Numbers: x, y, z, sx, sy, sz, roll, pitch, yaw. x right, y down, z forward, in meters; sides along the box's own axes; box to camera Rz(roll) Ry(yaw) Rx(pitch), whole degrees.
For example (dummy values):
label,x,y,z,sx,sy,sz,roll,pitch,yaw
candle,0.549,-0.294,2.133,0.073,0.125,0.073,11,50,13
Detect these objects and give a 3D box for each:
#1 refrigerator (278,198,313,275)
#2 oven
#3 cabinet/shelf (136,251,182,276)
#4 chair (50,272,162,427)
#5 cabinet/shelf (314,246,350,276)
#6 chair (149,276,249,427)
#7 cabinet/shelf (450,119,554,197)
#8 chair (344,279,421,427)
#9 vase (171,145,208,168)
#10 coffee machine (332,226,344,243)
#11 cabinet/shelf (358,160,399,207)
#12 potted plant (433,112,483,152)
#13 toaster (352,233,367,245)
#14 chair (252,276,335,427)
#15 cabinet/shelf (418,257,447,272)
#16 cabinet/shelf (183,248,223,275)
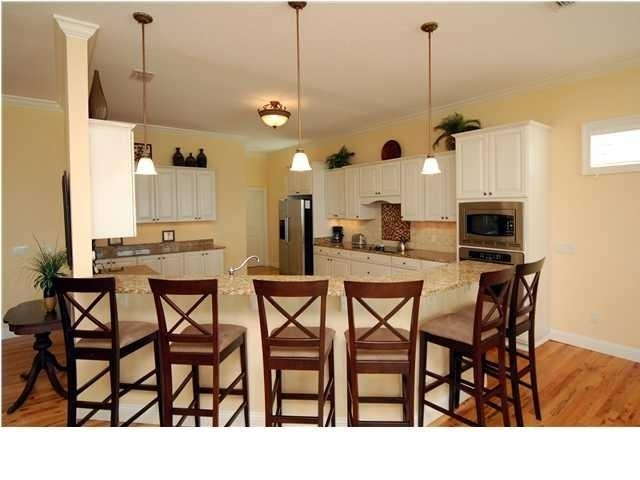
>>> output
label,x,y,z,sx,sy,sz,roll,pitch,yaw
refrigerator,-0.402,-0.069,8.070,0.283,1.416,0.798,-3,6,-28
oven,1.949,0.340,5.324,0.729,0.461,0.684,-2,-1,36
cabinet/shelf,-2.266,0.352,6.730,0.621,0.306,0.125,-3,6,-41
chair,-1.682,0.927,3.776,0.724,1.340,0.730,-2,5,-23
cabinet/shelf,0.205,0.331,7.370,0.204,0.408,0.483,-4,6,-40
chair,-0.915,0.921,3.696,0.699,1.320,0.704,-1,5,-10
cabinet/shelf,2.046,-0.705,5.606,0.851,1.078,1.276,0,1,-39
chair,0.467,0.895,3.558,0.584,1.260,0.667,1,5,10
vase,-2.004,-1.295,7.361,0.600,0.347,0.280,-3,6,-39
coffee machine,0.285,-0.105,7.853,0.194,0.261,0.305,-3,-7,33
cabinet/shelf,0.857,-0.835,6.817,0.316,0.612,0.784,1,0,-37
potted plant,1.705,-1.397,5.979,0.603,0.448,0.596,3,11,33
toaster,0.634,0.006,7.503,0.169,0.195,0.221,4,-6,-40
chair,-0.171,0.908,3.592,0.589,1.288,0.702,0,5,1
cabinet/shelf,1.376,0.239,5.744,0.317,0.263,0.169,1,6,31
cabinet/shelf,-1.789,0.318,7.052,0.445,0.363,0.179,-2,5,-39
